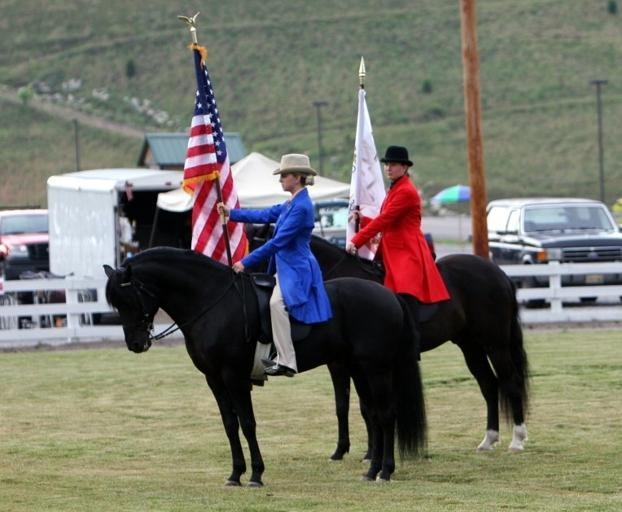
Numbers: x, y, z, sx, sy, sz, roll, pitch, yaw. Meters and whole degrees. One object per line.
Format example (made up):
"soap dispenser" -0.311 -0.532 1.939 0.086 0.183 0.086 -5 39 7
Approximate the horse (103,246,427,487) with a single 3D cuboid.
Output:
"horse" -1.109 3.271 52.379 9.910 7.215 2.833 -2 5 -12

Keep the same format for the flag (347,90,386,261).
"flag" 1.684 -3.037 53.491 1.288 6.300 1.074 6 32 10
